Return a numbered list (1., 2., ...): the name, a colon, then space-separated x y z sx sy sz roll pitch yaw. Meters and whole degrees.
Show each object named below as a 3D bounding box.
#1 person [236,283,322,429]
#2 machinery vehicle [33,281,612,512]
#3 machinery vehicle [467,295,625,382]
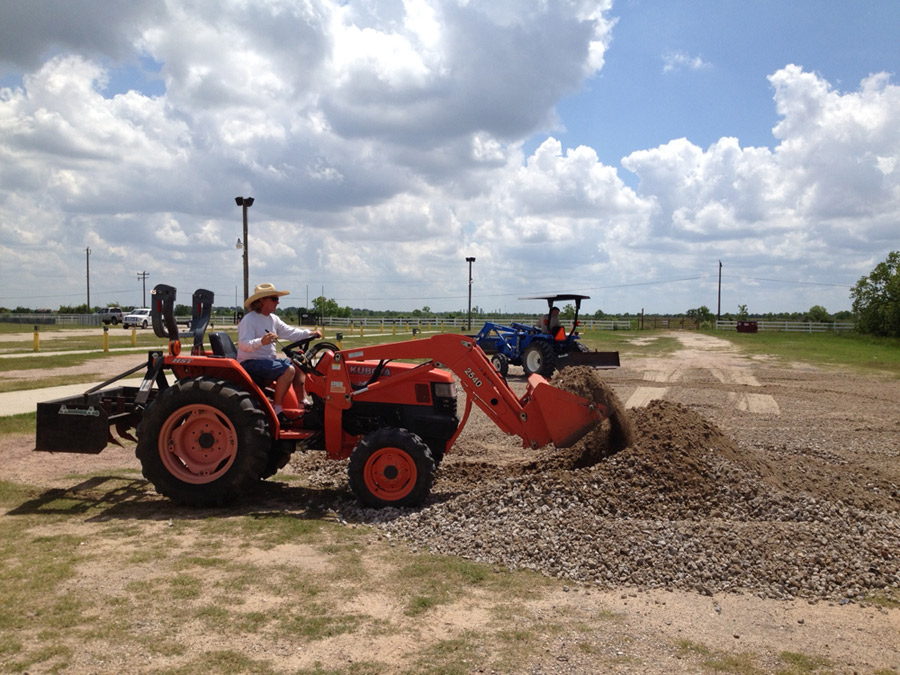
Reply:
1. person: -2.128 0.161 8.136 1.045 1.677 0.902 -3 0 -28
2. machinery vehicle: -1.635 0.701 8.266 6.824 2.807 2.344 0 3 8
3. machinery vehicle: 2.860 0.179 19.745 4.558 2.581 2.435 -2 -1 32
